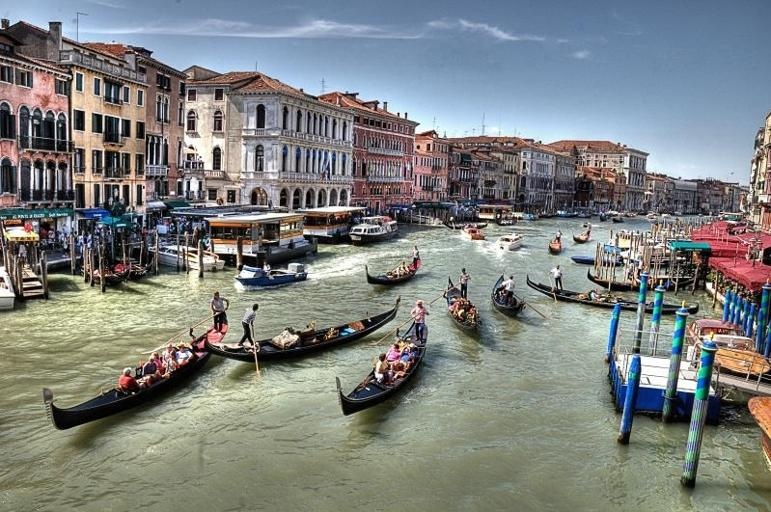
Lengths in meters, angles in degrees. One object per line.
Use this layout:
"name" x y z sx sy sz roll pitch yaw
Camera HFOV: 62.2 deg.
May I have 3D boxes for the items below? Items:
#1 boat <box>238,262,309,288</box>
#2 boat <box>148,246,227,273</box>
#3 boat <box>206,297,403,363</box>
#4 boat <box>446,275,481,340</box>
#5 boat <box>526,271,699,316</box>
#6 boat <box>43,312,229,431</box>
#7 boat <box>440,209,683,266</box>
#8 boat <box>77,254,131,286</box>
"boat" -8.038 1.379 45.611 1.917 1.392 4.894 1 1 36
"boat" -15.086 0.126 48.946 4.776 2.085 2.704 1 5 11
"boat" -5.281 3.540 32.933 15.400 3.050 2.759 -1 5 -39
"boat" 4.520 3.104 37.744 1.020 1.276 4.191 -12 21 -6
"boat" 14.539 2.222 42.887 6.029 3.256 12.298 0 -7 -4
"boat" -10.711 5.491 27.758 1.074 2.587 7.773 4 6 33
"boat" 21.935 -2.641 83.925 29.497 6.626 7.682 -1 -13 2
"boat" -19.318 1.077 43.326 4.563 1.647 1.472 4 9 32
